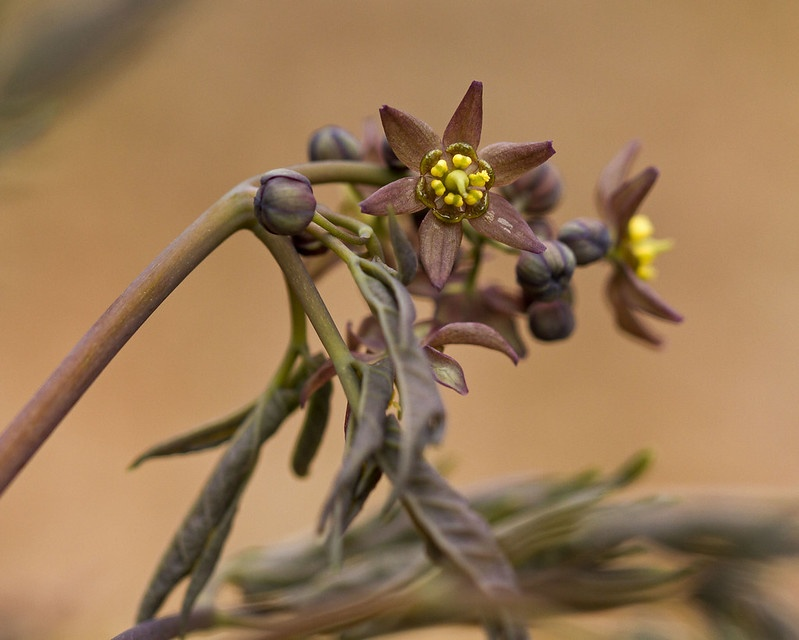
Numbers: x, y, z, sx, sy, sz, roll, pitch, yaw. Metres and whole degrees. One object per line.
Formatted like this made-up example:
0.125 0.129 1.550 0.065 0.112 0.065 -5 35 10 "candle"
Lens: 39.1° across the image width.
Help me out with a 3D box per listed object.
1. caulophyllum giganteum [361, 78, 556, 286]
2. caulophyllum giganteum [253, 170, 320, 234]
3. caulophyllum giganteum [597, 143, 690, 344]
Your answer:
0.051 -0.160 1.219 0.208 0.225 0.086 -29 -33 -12 "caulophyllum giganteum"
-0.118 -0.125 1.188 0.072 0.059 0.076 -15 -69 -34 "caulophyllum giganteum"
0.285 -0.092 1.392 0.079 0.254 0.235 -5 -4 15 "caulophyllum giganteum"
